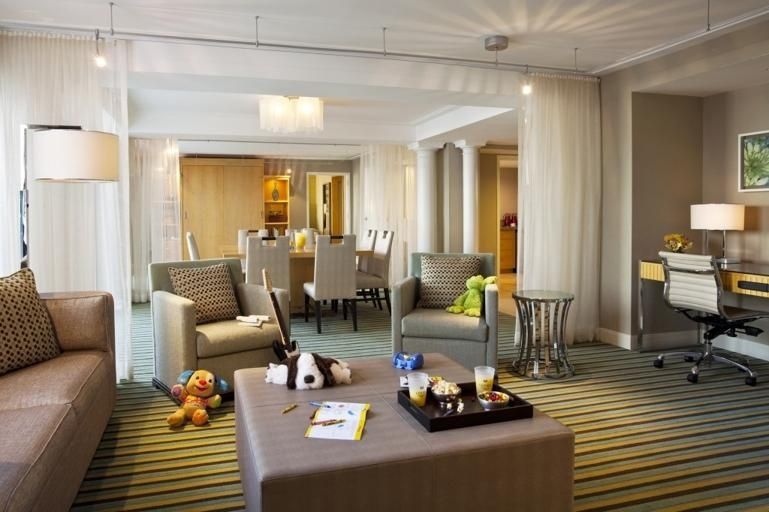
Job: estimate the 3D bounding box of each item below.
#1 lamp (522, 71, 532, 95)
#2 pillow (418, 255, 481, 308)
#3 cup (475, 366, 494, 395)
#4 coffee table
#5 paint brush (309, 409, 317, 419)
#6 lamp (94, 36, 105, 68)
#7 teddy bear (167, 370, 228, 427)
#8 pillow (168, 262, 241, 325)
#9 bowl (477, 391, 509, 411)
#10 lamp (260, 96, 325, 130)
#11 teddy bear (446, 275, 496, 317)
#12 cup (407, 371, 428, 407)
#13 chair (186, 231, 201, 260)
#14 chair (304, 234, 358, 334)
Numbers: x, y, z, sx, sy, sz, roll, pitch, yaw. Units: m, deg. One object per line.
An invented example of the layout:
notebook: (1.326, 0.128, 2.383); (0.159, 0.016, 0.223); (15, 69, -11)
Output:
lamp: (1.500, -1.830, 5.621); (0.110, 0.258, 0.219); (2, 10, 15)
pillow: (0.648, 0.272, 5.194); (0.494, 0.463, 0.180); (0, -26, 12)
cup: (0.593, 0.748, 3.200); (0.152, 0.168, 0.156); (1, -2, 0)
coffee table: (1.513, 0.763, 5.297); (0.800, 0.922, 0.791); (0, 0, -1)
paint brush: (-0.410, 0.911, 3.039); (0.014, 0.011, 0.064); (11, 19, 8)
lamp: (-2.497, -1.774, 4.636); (0.099, 0.258, 0.114); (-3, 10, -13)
teddy bear: (-1.461, 1.098, 4.178); (0.460, 0.365, 0.387); (-4, 10, -16)
pillow: (-1.611, 0.320, 4.786); (0.564, 0.524, 0.176); (-6, -22, -47)
bowl: (0.623, 0.830, 3.046); (0.106, 0.048, 0.108); (0, 1, 0)
lamp: (-1.106, -1.659, 6.481); (0.445, 0.274, 0.606); (7, 10, 40)
teddy bear: (0.825, 0.369, 5.012); (0.427, 0.399, 0.310); (2, 0, 18)
cup: (0.180, 0.786, 3.108); (0.165, 0.177, 0.164); (0, -3, 0)
chair: (-2.914, -0.131, 8.051); (0.280, 0.262, 0.454); (-12, -23, -20)
chair: (-0.720, 0.313, 6.966); (0.707, 1.228, 1.210); (-3, 10, -9)
